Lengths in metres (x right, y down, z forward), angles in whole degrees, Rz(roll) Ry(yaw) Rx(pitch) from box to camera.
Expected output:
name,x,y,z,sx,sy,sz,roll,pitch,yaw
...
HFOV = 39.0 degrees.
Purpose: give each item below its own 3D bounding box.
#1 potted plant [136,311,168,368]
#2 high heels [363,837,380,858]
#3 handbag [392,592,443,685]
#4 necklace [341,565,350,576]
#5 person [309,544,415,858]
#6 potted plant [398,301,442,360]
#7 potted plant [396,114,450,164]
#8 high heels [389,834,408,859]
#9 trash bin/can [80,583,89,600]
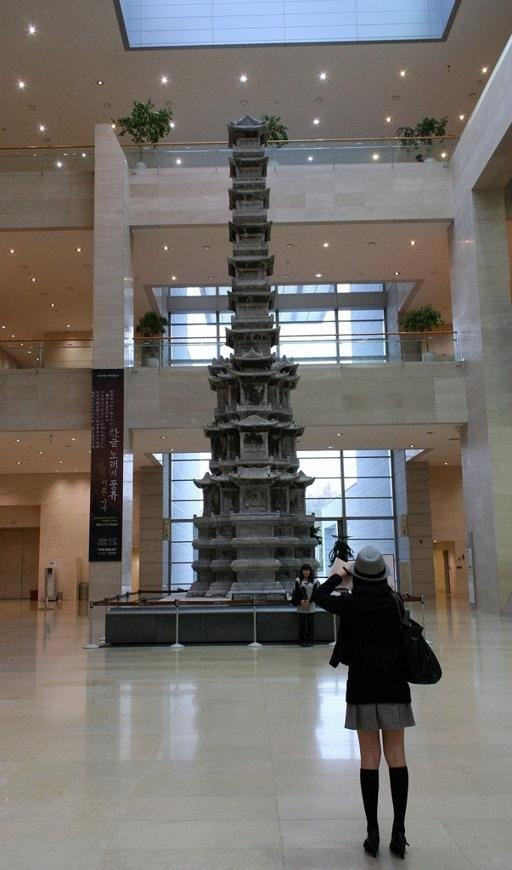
name,x,y,z,sx,sy,sz,roll,pitch,yaw
potted plant,-2.941,-2.677,20.401,0.786,1.691,0.687,-5,11,-11
high heels,0.459,1.618,2.836,0.030,0.045,0.096,2,-13,-1
handbag,0.690,0.876,3.096,0.175,0.399,0.233,-2,-8,10
necklace,0.404,0.608,3.235,0.032,0.017,0.046,-2,18,4
person,0.460,1.080,3.046,0.382,1.198,0.330,-3,-8,15
potted plant,4.313,-2.711,18.869,0.893,2.013,2.312,-3,-8,16
potted plant,4.353,-7.540,18.599,1.129,1.569,1.303,-3,-8,18
high heels,0.560,1.608,2.826,0.038,0.057,0.107,1,-12,0
trash bin/can,-6.109,5.491,25.449,0.280,0.528,0.499,2,-8,-23
